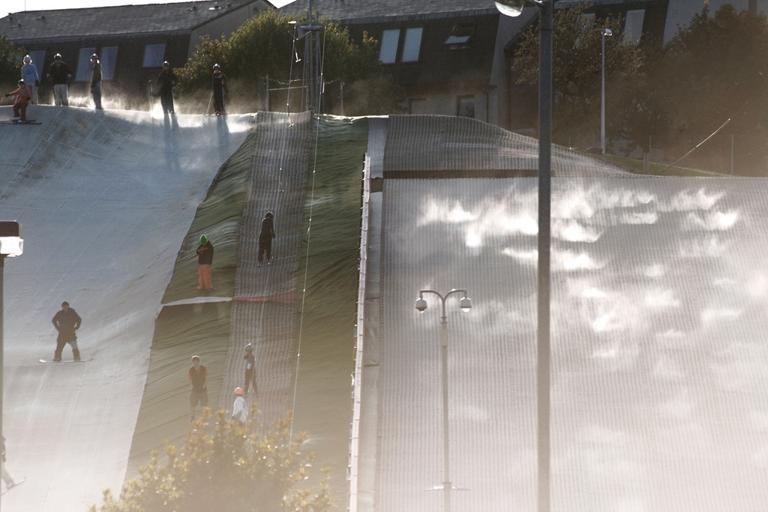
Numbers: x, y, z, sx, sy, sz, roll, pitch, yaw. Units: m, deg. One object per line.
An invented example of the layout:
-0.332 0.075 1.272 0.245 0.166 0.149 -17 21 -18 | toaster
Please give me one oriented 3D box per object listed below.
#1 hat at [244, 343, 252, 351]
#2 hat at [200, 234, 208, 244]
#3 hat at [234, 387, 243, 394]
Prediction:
-6.121 4.098 44.022 0.224 0.341 0.330 9 -13 0 | hat
-8.705 -0.801 47.095 0.213 0.492 0.348 -10 0 -2 | hat
-6.080 5.652 40.905 0.381 0.214 0.580 0 -5 -1 | hat
